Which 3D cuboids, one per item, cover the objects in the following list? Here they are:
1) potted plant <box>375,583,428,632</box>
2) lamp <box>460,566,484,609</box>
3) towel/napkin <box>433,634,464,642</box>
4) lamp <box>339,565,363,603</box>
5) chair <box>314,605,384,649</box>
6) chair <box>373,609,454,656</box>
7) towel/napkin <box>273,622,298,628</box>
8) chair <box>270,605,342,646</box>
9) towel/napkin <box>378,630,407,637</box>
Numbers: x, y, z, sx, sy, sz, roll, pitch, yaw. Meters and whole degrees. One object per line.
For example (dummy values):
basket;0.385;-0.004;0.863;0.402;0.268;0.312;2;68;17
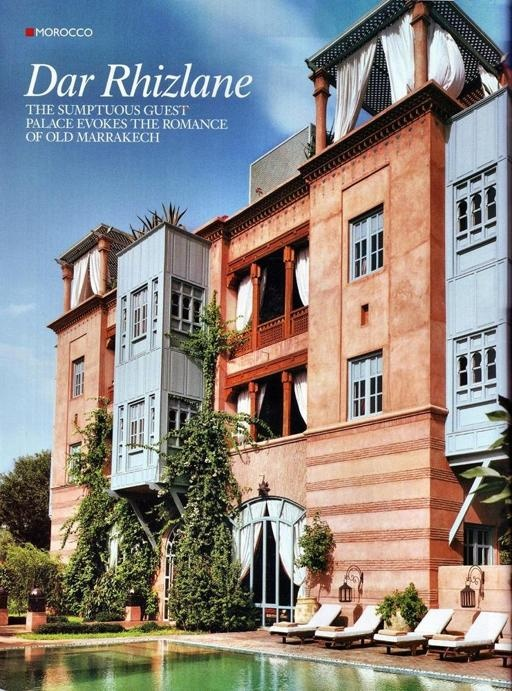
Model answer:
potted plant;2.847;5.092;20.117;0.735;0.916;0.887;2;-11;-3
lamp;4.097;4.563;19.419;0.484;0.782;0.331;2;-14;-22
towel/napkin;3.333;5.015;17.674;0.489;0.094;0.415;-6;-15;8
lamp;2.027;5.054;21.642;0.518;1.021;0.342;22;-30;-27
chair;1.817;5.466;20.067;0.657;0.768;1.319;-19;-31;41
chair;2.860;5.112;18.601;1.381;0.855;0.764;17;-27;-35
towel/napkin;0.607;5.608;20.670;0.414;0.104;0.676;2;-16;-20
chair;0.987;5.627;20.816;1.215;0.744;0.773;13;-24;-32
towel/napkin;2.455;5.156;18.452;0.565;0.103;0.491;-9;-15;18
